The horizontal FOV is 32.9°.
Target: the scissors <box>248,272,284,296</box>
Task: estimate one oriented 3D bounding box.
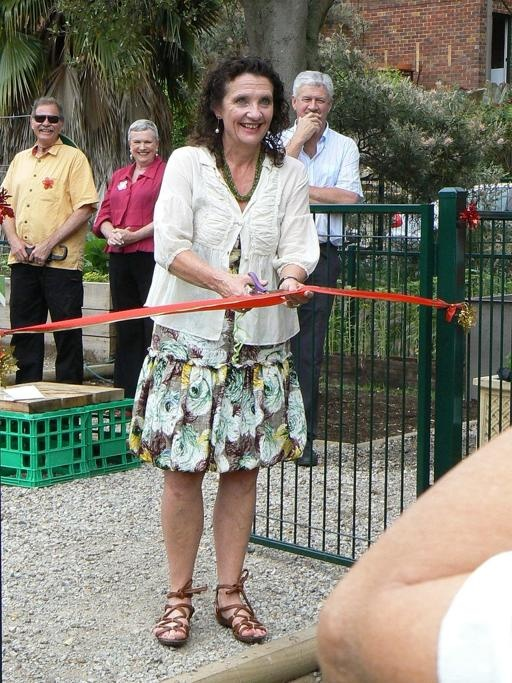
[{"bbox_3d":[0.013,-0.169,2.535,0.068,0.058,0.140,-1,5,-6],"label":"scissors"}]

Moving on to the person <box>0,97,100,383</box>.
[{"bbox_3d":[-1.494,-0.722,6.326,0.680,2.082,0.561,-1,5,-10],"label":"person"}]

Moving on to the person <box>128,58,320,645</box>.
[{"bbox_3d":[-0.085,0.041,2.770,0.633,1.898,0.485,-1,5,-9],"label":"person"}]

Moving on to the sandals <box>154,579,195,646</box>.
[{"bbox_3d":[-0.260,0.901,2.831,0.078,0.099,0.236,0,-2,4],"label":"sandals"}]

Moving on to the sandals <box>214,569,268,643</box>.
[{"bbox_3d":[-0.091,0.902,2.884,0.096,0.168,0.274,-4,-1,-28],"label":"sandals"}]
